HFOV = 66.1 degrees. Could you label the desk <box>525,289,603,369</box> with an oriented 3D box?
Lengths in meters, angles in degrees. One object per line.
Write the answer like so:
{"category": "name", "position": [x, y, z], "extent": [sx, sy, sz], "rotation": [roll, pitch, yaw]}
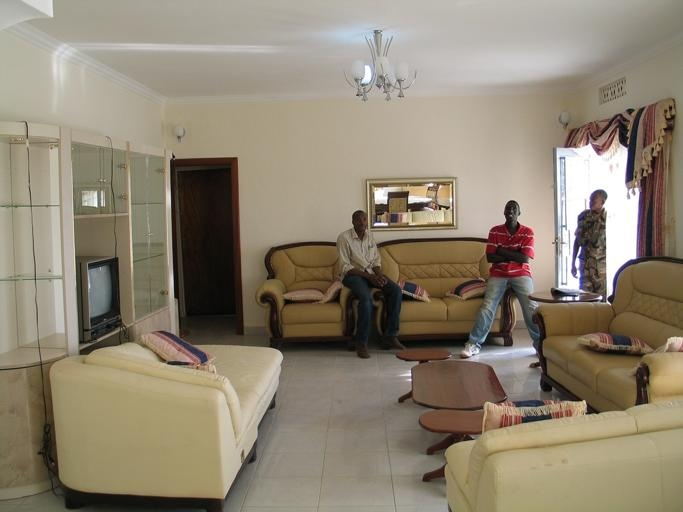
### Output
{"category": "desk", "position": [2.012, 0.625, 5.013], "extent": [0.739, 0.817, 0.754], "rotation": [-1, 2, 1]}

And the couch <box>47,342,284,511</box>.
{"category": "couch", "position": [-1.098, 0.995, 3.553], "extent": [1.092, 0.950, 1.166], "rotation": [0, 9, 11]}

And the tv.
{"category": "tv", "position": [-2.026, 0.341, 4.168], "extent": [0.317, 0.603, 0.603], "rotation": [0, 4, 1]}

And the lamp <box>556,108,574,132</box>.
{"category": "lamp", "position": [2.823, -1.699, 6.569], "extent": [0.178, 0.245, 0.316], "rotation": [3, 9, 26]}

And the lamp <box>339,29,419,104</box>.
{"category": "lamp", "position": [0.372, -1.759, 4.737], "extent": [0.572, 0.596, 0.567], "rotation": [1, 5, 15]}

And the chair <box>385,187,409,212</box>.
{"category": "chair", "position": [0.725, -0.709, 6.746], "extent": [0.255, 0.327, 0.249], "rotation": [2, 9, 6]}

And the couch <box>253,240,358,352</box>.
{"category": "couch", "position": [-0.374, 0.439, 6.364], "extent": [1.208, 1.219, 1.042], "rotation": [-1, 3, -10]}

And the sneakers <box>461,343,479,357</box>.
{"category": "sneakers", "position": [1.414, 1.035, 5.716], "extent": [0.092, 0.125, 0.278], "rotation": [-2, -6, 33]}

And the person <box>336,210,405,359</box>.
{"category": "person", "position": [0.356, 0.387, 5.998], "extent": [0.664, 1.402, 0.785], "rotation": [-3, 9, -9]}

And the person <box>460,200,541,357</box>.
{"category": "person", "position": [1.759, 0.242, 5.737], "extent": [0.754, 1.663, 0.616], "rotation": [1, 9, 15]}

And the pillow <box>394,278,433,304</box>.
{"category": "pillow", "position": [0.854, 0.413, 6.059], "extent": [0.259, 0.091, 0.278], "rotation": [16, 17, -5]}

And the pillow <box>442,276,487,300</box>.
{"category": "pillow", "position": [1.463, 0.400, 6.071], "extent": [0.284, 0.092, 0.282], "rotation": [-29, 7, -40]}

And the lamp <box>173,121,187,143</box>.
{"category": "lamp", "position": [-2.049, -1.577, 6.655], "extent": [0.200, 0.302, 0.197], "rotation": [2, 2, -1]}

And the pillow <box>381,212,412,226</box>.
{"category": "pillow", "position": [0.728, -0.475, 6.808], "extent": [0.321, 0.176, 0.070], "rotation": [3, -3, -2]}
